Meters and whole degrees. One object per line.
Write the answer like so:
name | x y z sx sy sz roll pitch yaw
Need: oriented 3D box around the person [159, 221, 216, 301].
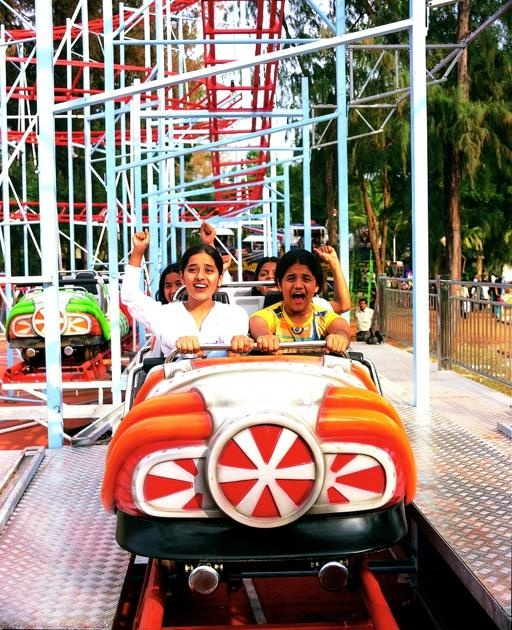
person | -0.660 -0.454 5.582 0.497 0.769 0.262 5 -8 8
